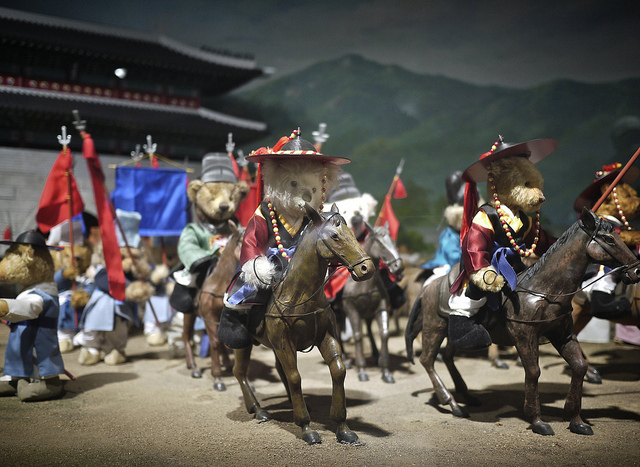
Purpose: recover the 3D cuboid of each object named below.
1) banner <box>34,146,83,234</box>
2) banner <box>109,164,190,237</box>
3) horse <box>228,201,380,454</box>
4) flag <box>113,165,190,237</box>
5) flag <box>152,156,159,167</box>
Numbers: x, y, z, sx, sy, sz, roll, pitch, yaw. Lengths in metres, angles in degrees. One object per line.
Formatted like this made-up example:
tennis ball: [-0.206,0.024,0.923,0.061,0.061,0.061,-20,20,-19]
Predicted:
banner: [-3.939,-0.673,19.789,0.737,1.313,0.266,2,-3,-20]
banner: [-2.771,-0.533,21.440,1.565,1.088,0.162,4,5,24]
horse: [-0.170,1.235,18.677,1.725,2.988,3.002,2,0,-3]
flag: [-2.787,-0.547,21.269,1.520,1.141,0.159,-2,11,-25]
flag: [-2.709,-1.185,21.396,0.046,0.134,0.108,-6,20,14]
